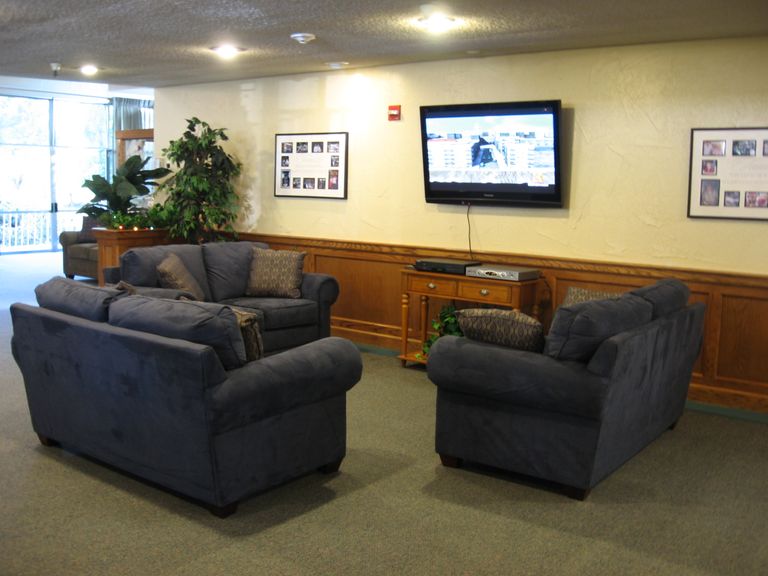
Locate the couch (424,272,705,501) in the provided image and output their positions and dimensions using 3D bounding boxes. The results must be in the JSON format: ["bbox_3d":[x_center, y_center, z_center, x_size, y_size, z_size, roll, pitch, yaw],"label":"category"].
[{"bbox_3d":[1.076,0.675,3.546,1.092,1.176,1.924,4,6,40],"label":"couch"}]

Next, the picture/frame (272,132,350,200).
[{"bbox_3d":[-0.819,-1.428,6.500,0.831,0.643,0.022,5,10,31],"label":"picture/frame"}]
